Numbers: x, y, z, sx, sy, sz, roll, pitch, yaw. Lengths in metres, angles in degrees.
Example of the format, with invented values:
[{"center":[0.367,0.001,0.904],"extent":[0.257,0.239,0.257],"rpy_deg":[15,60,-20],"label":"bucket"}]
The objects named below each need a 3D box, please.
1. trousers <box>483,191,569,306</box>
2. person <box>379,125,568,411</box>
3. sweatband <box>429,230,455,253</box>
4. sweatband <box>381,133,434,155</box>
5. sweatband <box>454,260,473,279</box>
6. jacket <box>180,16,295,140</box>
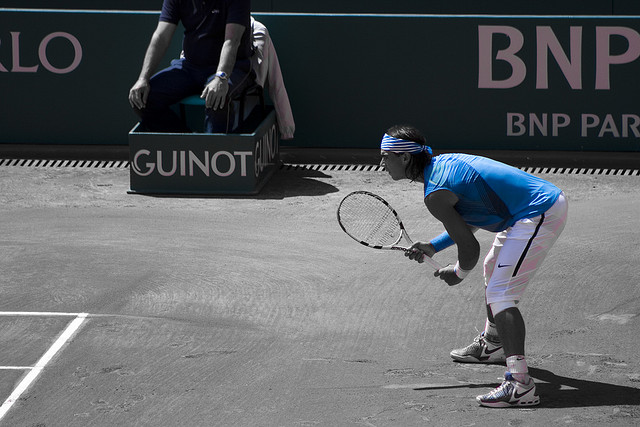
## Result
[{"center":[1.470,0.253,5.735],"extent":[0.526,0.788,0.168],"rpy_deg":[0,8,-22],"label":"trousers"},{"center":[1.103,0.380,5.818],"extent":[1.160,1.952,0.431],"rpy_deg":[5,7,19],"label":"person"},{"center":[0.925,0.215,6.115],"extent":[0.226,0.105,0.120],"rpy_deg":[-25,52,-11],"label":"sweatband"},{"center":[0.611,-0.483,5.831],"extent":[0.246,0.078,0.174],"rpy_deg":[13,4,6],"label":"sweatband"},{"center":[1.025,0.420,5.898],"extent":[0.110,0.102,0.133],"rpy_deg":[45,33,12],"label":"sweatband"},{"center":[-1.195,-1.613,10.947],"extent":[1.792,1.420,2.181],"rpy_deg":[5,4,-16],"label":"jacket"}]
